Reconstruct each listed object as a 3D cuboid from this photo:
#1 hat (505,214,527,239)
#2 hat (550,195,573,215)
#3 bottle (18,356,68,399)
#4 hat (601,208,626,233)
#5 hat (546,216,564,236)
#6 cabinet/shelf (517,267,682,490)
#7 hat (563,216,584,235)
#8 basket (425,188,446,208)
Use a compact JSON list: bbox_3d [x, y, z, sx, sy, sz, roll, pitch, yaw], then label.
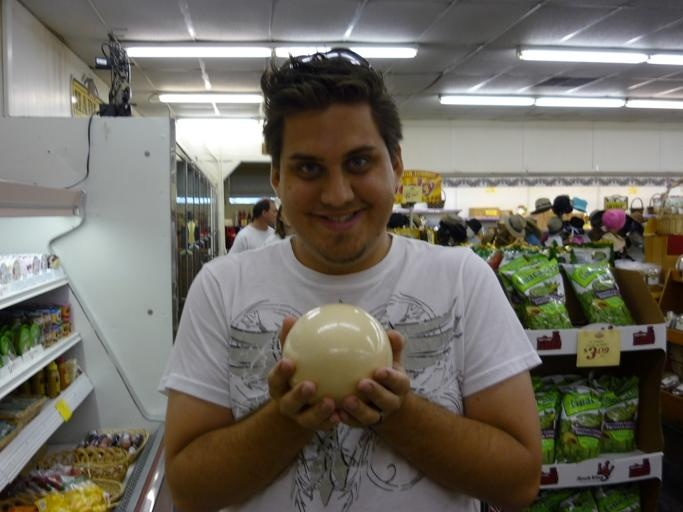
[{"bbox_3d":[1.123,-0.187,2.693,0.131,0.157,0.053,8,-21,-34],"label":"hat"},{"bbox_3d":[1.521,-0.340,2.921,0.106,0.133,0.165,-5,7,7],"label":"hat"},{"bbox_3d":[-1.701,0.710,2.406,0.255,0.189,0.190,-6,6,-43],"label":"bottle"},{"bbox_3d":[1.831,-0.223,2.823,0.179,0.151,0.107,-3,5,-24],"label":"hat"},{"bbox_3d":[1.457,-0.196,2.826,0.153,0.121,0.080,-3,5,-23],"label":"hat"},{"bbox_3d":[1.273,0.600,2.158,0.650,1.029,0.367,-1,4,-5],"label":"cabinet/shelf"},{"bbox_3d":[1.626,-0.224,2.933,0.104,0.057,0.133,4,19,-7],"label":"hat"},{"bbox_3d":[0.732,-0.421,3.245,0.214,0.113,0.272,-4,7,8],"label":"basket"}]
